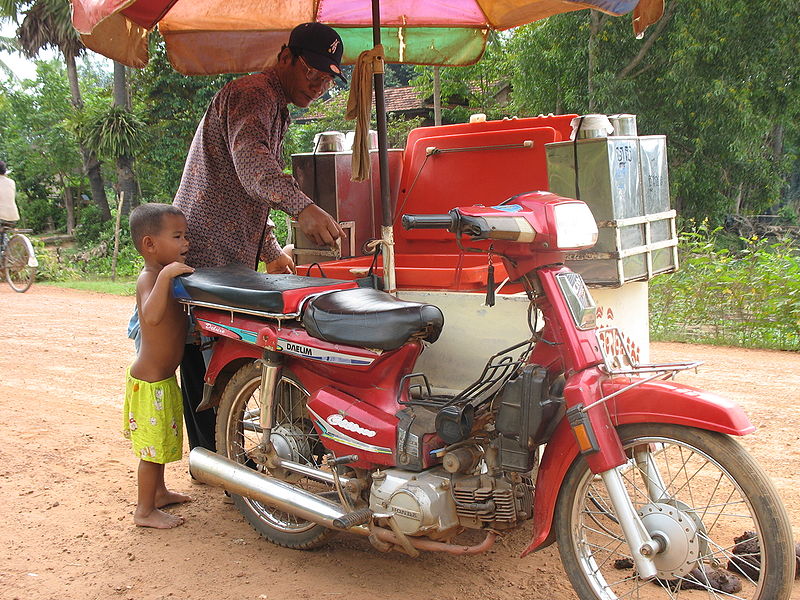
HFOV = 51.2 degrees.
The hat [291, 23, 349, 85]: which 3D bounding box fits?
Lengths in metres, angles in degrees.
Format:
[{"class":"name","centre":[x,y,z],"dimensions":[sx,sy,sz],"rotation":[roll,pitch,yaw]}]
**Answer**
[{"class":"hat","centre":[-0.493,-1.579,5.368],"dimensions":[0.352,0.211,0.258],"rotation":[37,22,18]}]
